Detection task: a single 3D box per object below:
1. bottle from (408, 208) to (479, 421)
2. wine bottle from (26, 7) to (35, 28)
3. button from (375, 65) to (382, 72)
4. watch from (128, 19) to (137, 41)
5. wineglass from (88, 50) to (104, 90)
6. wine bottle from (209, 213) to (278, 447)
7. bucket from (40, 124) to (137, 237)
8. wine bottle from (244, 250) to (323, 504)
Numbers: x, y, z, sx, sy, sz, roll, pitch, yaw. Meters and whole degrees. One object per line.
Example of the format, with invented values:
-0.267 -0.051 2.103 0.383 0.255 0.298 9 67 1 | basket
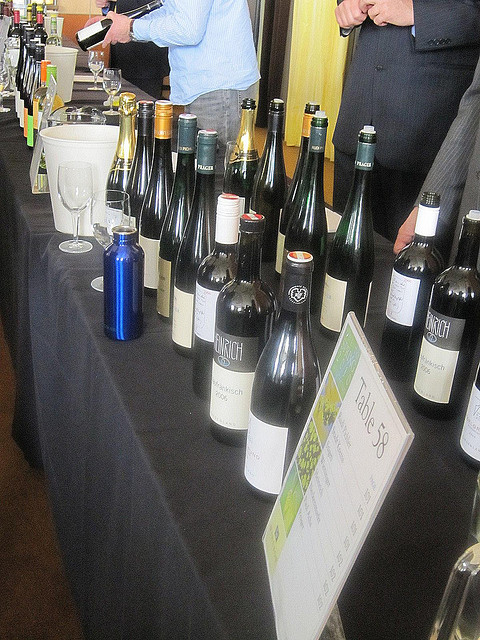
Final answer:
0.245 0.000 0.566 0.064 0.264 0.086 12 21 28 | bottle
-1.353 -1.975 3.110 0.036 0.109 1.337 -5 32 -21 | wine bottle
0.502 -0.916 1.744 0.016 0.028 0.005 4 4 20 | button
-0.524 -1.397 2.310 0.019 0.088 0.070 4 26 16 | watch
-0.805 -1.421 2.704 0.068 0.233 0.094 8 37 -12 | wineglass
0.003 0.005 0.509 0.051 0.247 0.066 15 26 14 | wine bottle
-0.377 -0.395 1.223 0.218 0.319 0.237 3 21 -1 | bucket
0.044 0.060 0.440 0.073 0.271 0.101 3 19 1 | wine bottle
